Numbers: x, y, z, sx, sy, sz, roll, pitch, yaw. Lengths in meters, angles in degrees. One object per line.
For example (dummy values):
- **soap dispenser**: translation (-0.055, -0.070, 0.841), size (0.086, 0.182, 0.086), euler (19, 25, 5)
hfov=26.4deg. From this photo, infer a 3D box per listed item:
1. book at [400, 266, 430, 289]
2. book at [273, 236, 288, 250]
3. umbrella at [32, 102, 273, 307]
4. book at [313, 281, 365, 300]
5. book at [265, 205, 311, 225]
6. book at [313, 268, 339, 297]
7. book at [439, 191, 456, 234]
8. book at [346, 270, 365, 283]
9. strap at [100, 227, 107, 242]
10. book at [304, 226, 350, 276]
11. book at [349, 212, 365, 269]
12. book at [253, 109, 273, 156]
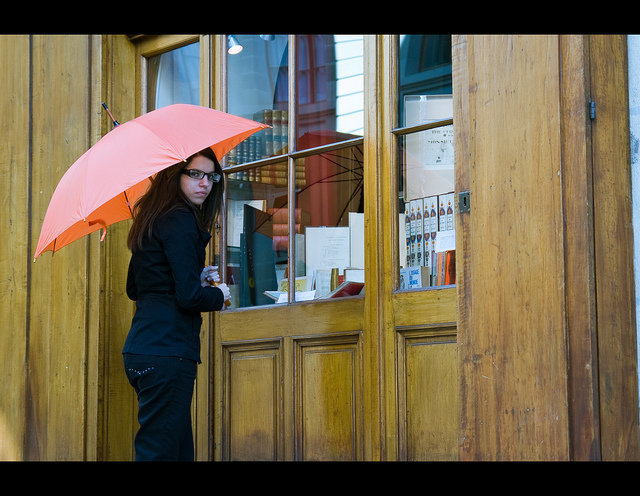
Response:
- **book**: translation (0.441, 0.142, 6.232), size (0.085, 0.105, 0.032), euler (-11, -14, 42)
- **book**: translation (-0.198, -0.017, 6.680), size (0.063, 0.065, 0.023), euler (-3, -6, 39)
- **umbrella**: translation (-0.762, -0.160, 5.988), size (1.017, 0.880, 0.670), euler (-9, 7, -11)
- **book**: translation (0.095, 0.208, 6.483), size (0.273, 0.079, 0.019), euler (-2, 8, 34)
- **book**: translation (-0.144, -0.155, 6.644), size (0.165, 0.121, 0.092), euler (0, -4, 25)
- **book**: translation (0.019, 0.173, 6.545), size (0.107, 0.165, 0.158), euler (2, -3, -12)
- **book**: translation (0.574, -0.146, 6.123), size (0.089, 0.176, 0.042), euler (-2, 8, 34)
- **book**: translation (0.165, 0.142, 6.428), size (0.014, 0.059, 0.117), euler (-13, 9, -42)
- **strap**: translation (-1.092, -0.061, 6.762), size (0.018, 0.071, 0.016), euler (10, -15, 36)
- **book**: translation (0.040, 0.021, 6.510), size (0.215, 0.232, 0.016), euler (2, 6, 23)
- **book**: translation (0.170, -0.030, 6.414), size (0.041, 0.262, 0.098), euler (-13, 9, -42)
- **book**: translation (-0.286, -0.556, 6.740), size (0.138, 0.196, 0.195), euler (1, -11, -11)
